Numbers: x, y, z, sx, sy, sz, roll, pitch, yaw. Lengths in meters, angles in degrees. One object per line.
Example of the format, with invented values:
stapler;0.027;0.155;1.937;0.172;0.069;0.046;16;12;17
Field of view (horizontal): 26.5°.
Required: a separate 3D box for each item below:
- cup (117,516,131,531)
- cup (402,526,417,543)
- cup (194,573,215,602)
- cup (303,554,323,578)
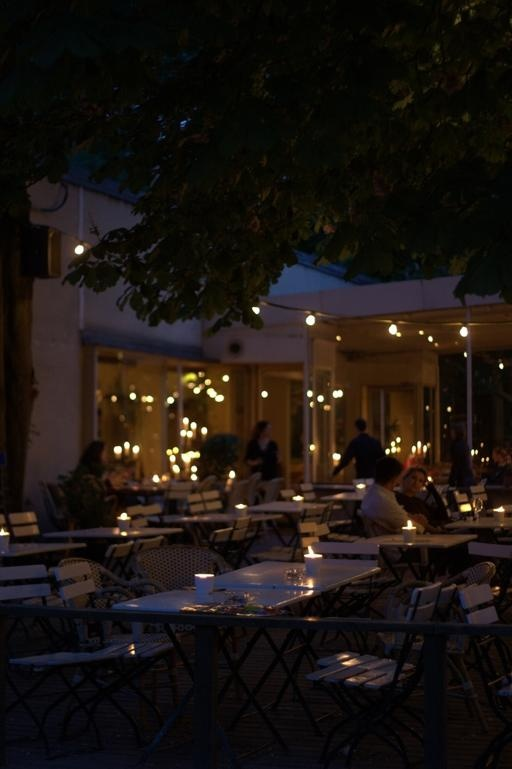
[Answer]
cup;-0.969;0.991;7.744;0.110;0.115;0.109;2;1;0
cup;0.890;0.860;6.299;0.087;0.087;0.082;3;-4;0
cup;-0.193;0.795;4.290;0.100;0.099;0.095;2;-1;0
cup;0.254;0.812;4.919;0.090;0.095;0.096;2;-2;0
